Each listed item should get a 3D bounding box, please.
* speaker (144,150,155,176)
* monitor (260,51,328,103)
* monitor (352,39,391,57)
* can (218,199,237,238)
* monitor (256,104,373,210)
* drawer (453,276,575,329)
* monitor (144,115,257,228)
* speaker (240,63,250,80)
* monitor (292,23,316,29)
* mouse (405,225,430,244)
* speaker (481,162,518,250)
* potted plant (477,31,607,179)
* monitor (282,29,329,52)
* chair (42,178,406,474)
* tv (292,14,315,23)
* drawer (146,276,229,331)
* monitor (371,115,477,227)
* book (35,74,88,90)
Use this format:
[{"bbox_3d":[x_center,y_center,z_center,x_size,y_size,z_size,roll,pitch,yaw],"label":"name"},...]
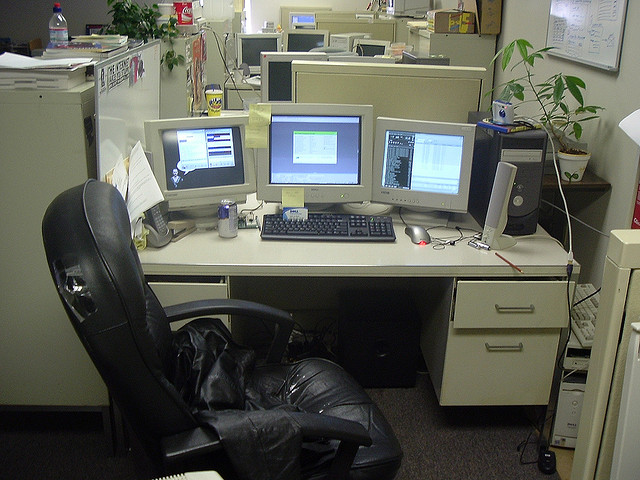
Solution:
[{"bbox_3d":[-0.748,-0.345,2.352,0.025,0.096,0.096,-14,28,-26],"label":"speaker"},{"bbox_3d":[-0.168,-0.990,3.363,0.366,0.401,0.801,-2,27,-2],"label":"monitor"},{"bbox_3d":[0.495,-1.867,5.204,0.350,0.131,0.421,0,27,3],"label":"monitor"},{"bbox_3d":[-0.410,-0.103,2.394,0.079,0.168,0.103,6,23,8],"label":"can"},{"bbox_3d":[-0.001,-0.417,2.660,0.618,0.661,0.395,0,16,-2],"label":"monitor"},{"bbox_3d":[0.801,0.263,2.298,0.274,0.143,0.301,1,13,5],"label":"drawer"},{"bbox_3d":[-0.536,-0.312,2.384,0.365,0.444,0.226,-5,22,-15],"label":"monitor"},{"bbox_3d":[-0.726,-1.638,5.234,0.042,0.184,0.117,3,9,29],"label":"speaker"},{"bbox_3d":[-0.205,-2.679,6.709,0.235,0.048,0.423,-7,28,-10],"label":"monitor"},{"bbox_3d":[0.436,-0.030,2.404,0.080,0.044,0.131,-9,28,-14],"label":"mouse"},{"bbox_3d":[0.798,-0.151,2.301,0.196,0.371,0.119,-20,30,-35],"label":"speaker"},{"bbox_3d":[1.272,-0.679,3.100,0.477,0.891,0.671,-8,2,43],"label":"potted plant"},{"bbox_3d":[-0.149,-2.111,5.669,0.463,0.202,0.119,3,25,9],"label":"monitor"},{"bbox_3d":[-0.369,0.299,1.983,0.780,0.979,0.659,-10,34,-15],"label":"chair"},{"bbox_3d":[-0.222,-2.906,7.051,0.288,0.071,0.489,-3,28,-2],"label":"tv"},{"bbox_3d":[-0.546,0.216,2.195,0.243,0.176,0.264,0,31,-4],"label":"drawer"},{"bbox_3d":[0.479,-0.314,2.469,0.362,0.446,0.238,5,33,8],"label":"monitor"},{"bbox_3d":[-0.971,-0.606,2.062,0.084,0.037,0.220,16,33,31],"label":"book"}]
